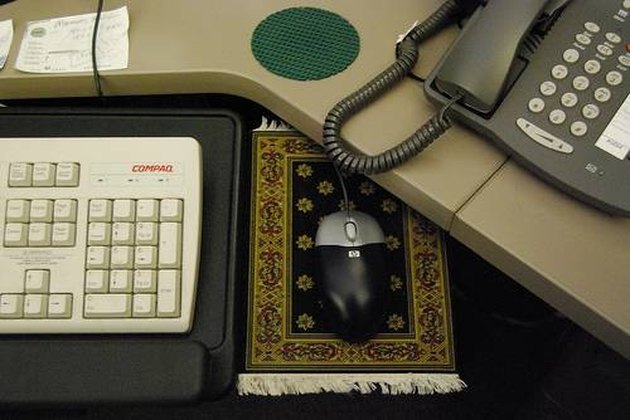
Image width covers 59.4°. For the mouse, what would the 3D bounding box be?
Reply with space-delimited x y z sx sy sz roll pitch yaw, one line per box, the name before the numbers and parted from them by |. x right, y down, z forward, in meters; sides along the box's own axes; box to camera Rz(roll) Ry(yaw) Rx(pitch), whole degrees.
mouse | 0.064 0.089 0.770 0.099 0.046 0.183 1 78 -7
